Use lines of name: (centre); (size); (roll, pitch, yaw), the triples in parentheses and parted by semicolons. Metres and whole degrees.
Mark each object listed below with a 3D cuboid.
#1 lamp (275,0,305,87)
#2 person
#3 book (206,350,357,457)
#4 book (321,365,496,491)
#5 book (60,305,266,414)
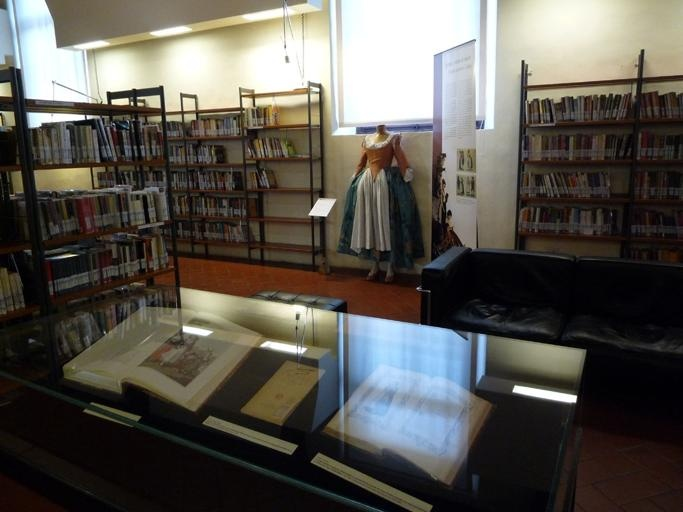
lamp: (-0.615, -2.700, 6.551); (0.174, 0.883, 0.375); (-13, 18, -36)
person: (0.460, -0.731, 5.987); (0.698, 1.628, 0.408); (2, 15, 16)
book: (-0.241, 0.536, 1.862); (0.306, 0.100, 0.316); (10, 30, 22)
book: (0.255, 0.587, 1.809); (0.459, 0.141, 0.481); (7, 18, 32)
book: (-0.690, 0.413, 2.076); (0.440, 0.077, 0.370); (9, 28, 24)
